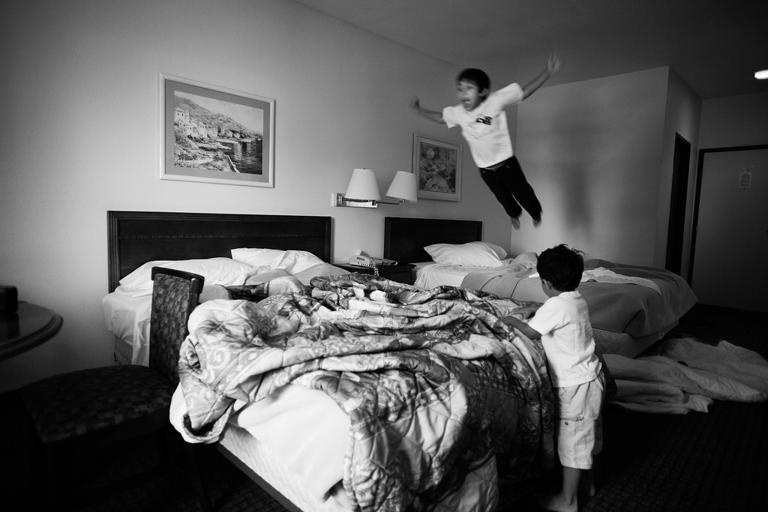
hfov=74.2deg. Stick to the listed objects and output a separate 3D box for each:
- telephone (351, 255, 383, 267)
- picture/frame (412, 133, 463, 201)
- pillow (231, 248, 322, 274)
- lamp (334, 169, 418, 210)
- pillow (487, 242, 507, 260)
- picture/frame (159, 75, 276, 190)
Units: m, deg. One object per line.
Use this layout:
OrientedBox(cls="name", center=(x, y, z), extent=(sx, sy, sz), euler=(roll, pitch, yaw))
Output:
OrientedBox(cls="telephone", center=(-0.195, 0.053, 5.086), extent=(0.207, 0.064, 0.156), euler=(12, 13, 41))
OrientedBox(cls="picture/frame", center=(0.601, -1.054, 5.987), extent=(0.903, 0.732, 0.039), euler=(-2, 6, -43))
OrientedBox(cls="pillow", center=(-0.914, 0.030, 4.443), extent=(0.426, 0.128, 0.364), euler=(10, -1, -40))
OrientedBox(cls="lamp", center=(-0.057, -0.679, 5.253), extent=(0.962, 0.404, 0.382), euler=(-7, 11, -41))
OrientedBox(cls="pillow", center=(1.319, -0.052, 5.990), extent=(0.246, 0.077, 0.257), euler=(4, 12, -33))
OrientedBox(cls="picture/frame", center=(-1.474, -1.057, 4.336), extent=(1.081, 0.908, 0.045), euler=(1, 0, -41))
